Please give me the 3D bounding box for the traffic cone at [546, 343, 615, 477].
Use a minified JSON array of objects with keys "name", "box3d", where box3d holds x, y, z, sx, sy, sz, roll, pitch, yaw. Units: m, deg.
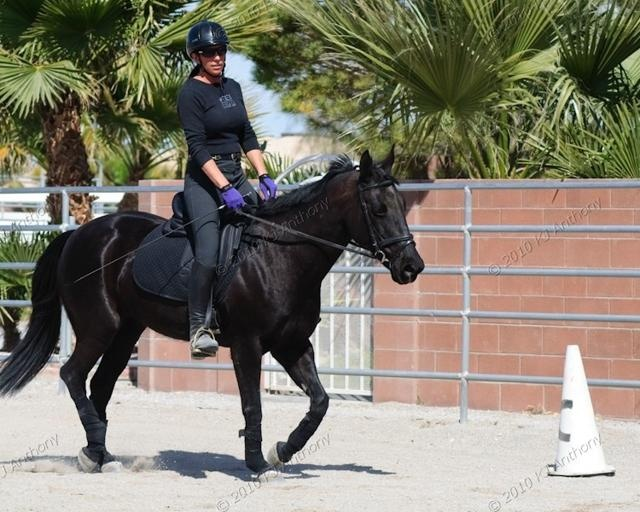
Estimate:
[{"name":"traffic cone","box3d":[2.455,1.511,13.338,0.846,1.143,0.855,-3,3,34]}]
